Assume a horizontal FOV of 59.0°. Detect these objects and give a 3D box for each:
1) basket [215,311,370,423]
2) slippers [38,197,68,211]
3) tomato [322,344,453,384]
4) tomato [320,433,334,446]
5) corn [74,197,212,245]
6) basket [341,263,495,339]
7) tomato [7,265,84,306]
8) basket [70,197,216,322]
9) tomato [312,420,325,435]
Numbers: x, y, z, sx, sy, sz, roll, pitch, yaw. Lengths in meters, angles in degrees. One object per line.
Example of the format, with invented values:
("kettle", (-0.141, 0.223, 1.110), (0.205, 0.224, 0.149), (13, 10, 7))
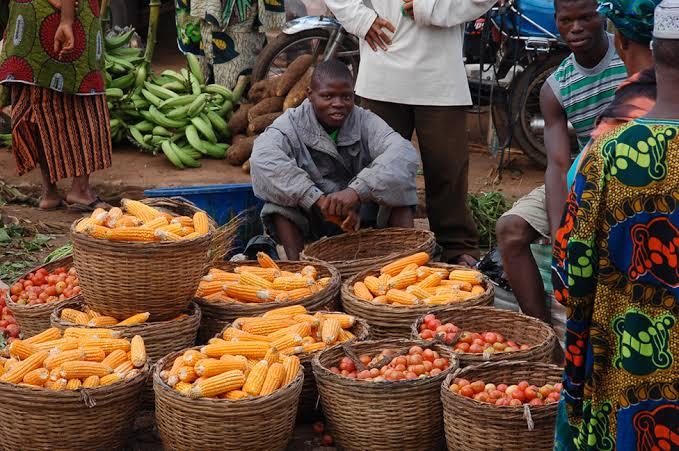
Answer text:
("basket", (-0.195, 0.821, 3.902), (0.660, 0.357, 0.714), (-4, 4, -29))
("slippers", (-3.044, -0.231, 6.402), (0.124, 0.131, 0.325), (0, -1, 15))
("tomato", (0.315, 0.792, 3.356), (0.445, 0.183, 0.429), (-7, 2, -16))
("tomato", (-0.071, 1.225, 3.410), (0.053, 0.054, 0.053), (-12, -21, 42))
("corn", (-1.190, -0.025, 3.761), (0.712, 0.362, 0.325), (1, 3, -17))
("basket", (0.531, 0.497, 4.086), (0.842, 0.322, 0.903), (-17, -22, 26))
("tomato", (-2.054, 0.432, 4.220), (0.383, 0.153, 0.396), (-17, 10, -34))
("basket", (-1.229, 0.200, 3.696), (0.784, 0.681, 0.620), (-12, 18, -32))
("tomato", (-0.119, 1.179, 3.507), (0.066, 0.067, 0.067), (-4, -1, -11))
